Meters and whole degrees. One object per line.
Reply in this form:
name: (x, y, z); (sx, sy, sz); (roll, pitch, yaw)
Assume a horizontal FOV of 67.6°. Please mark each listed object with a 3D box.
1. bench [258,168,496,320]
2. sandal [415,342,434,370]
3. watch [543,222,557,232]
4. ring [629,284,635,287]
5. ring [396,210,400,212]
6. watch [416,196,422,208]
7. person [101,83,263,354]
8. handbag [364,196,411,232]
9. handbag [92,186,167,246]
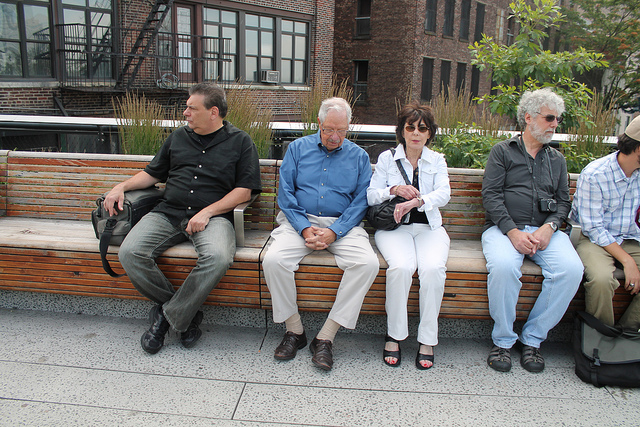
bench: (0.548, 0.230, 4.061); (2.194, 1.033, 0.881); (-3, 8, 32)
sandal: (0.736, 0.997, 3.354); (0.127, 0.162, 0.103); (4, 14, 13)
watch: (1.700, 0.090, 3.550); (0.045, 0.067, 0.067); (-32, 28, 17)
ring: (2.196, 0.506, 3.371); (0.024, 0.016, 0.014); (0, 2, 24)
ring: (0.572, -0.019, 3.506); (0.022, 0.013, 0.010); (2, 13, 1)
watch: (0.745, -0.086, 3.551); (0.021, 0.054, 0.047); (-6, 28, -20)
person: (-1.057, -0.021, 3.612); (1.013, 1.879, 0.981); (5, 14, 16)
handbag: (0.505, -0.040, 3.714); (0.307, 0.150, 0.391); (5, 30, -1)
handbag: (-1.501, 0.067, 3.805); (0.336, 0.343, 0.565); (8, 4, 13)
